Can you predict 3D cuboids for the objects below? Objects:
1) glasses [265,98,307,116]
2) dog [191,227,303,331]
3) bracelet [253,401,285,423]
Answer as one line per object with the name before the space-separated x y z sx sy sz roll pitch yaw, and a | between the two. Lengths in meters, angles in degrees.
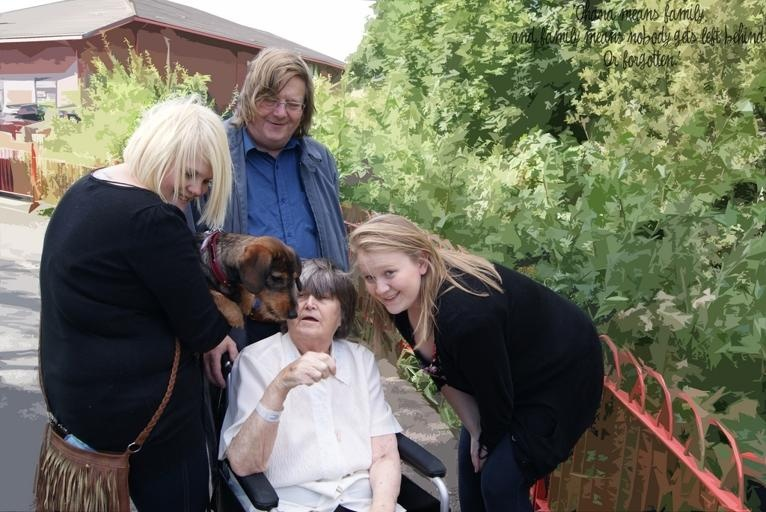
glasses | -0.781 -1.188 4.265 0.296 0.095 0.055 0 5 -21
dog | -0.841 0.109 3.499 0.995 0.421 0.347 23 16 38
bracelet | -0.695 0.945 3.369 0.133 0.065 0.130 17 10 -46
